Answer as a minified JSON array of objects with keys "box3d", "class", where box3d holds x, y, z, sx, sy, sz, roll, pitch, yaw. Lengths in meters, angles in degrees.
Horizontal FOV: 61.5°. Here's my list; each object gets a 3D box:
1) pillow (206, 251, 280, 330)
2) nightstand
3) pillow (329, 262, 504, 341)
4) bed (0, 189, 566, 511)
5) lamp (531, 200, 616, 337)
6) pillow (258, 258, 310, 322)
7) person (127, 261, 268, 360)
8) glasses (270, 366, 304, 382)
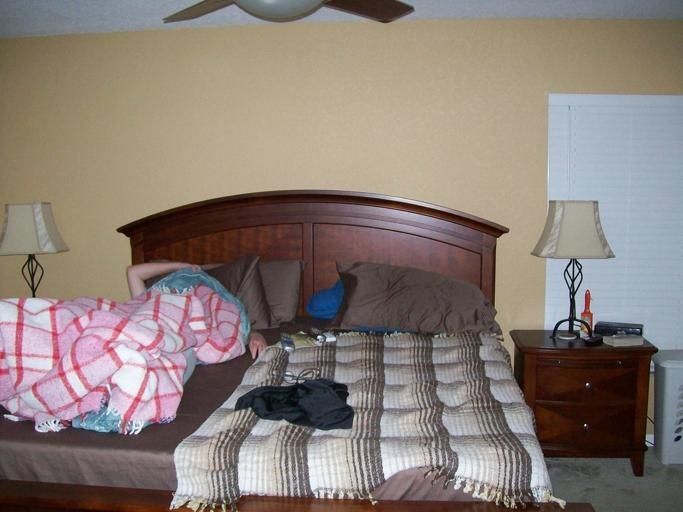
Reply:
[{"box3d":[-0.649,0.241,3.766,0.421,0.448,0.142,-19,-9,-32],"class":"pillow"},{"box3d":[1.450,0.955,3.706,0.935,0.745,0.664,2,-1,2],"class":"nightstand"},{"box3d":[0.450,0.267,3.524,0.782,0.142,0.454,0,32,-1],"class":"pillow"},{"box3d":[-0.238,0.592,3.257,2.063,0.991,1.806,1,12,8],"class":"bed"},{"box3d":[1.480,0.065,3.720,0.477,0.864,0.464,-1,2,11],"class":"lamp"},{"box3d":[-0.401,0.216,3.756,0.419,0.344,0.112,-2,-11,4],"class":"pillow"},{"box3d":[-0.873,0.295,3.491,1.060,0.527,0.705,0,2,39],"class":"person"},{"box3d":[-0.274,0.584,2.847,0.162,0.050,0.177,-1,1,-6],"class":"glasses"}]
